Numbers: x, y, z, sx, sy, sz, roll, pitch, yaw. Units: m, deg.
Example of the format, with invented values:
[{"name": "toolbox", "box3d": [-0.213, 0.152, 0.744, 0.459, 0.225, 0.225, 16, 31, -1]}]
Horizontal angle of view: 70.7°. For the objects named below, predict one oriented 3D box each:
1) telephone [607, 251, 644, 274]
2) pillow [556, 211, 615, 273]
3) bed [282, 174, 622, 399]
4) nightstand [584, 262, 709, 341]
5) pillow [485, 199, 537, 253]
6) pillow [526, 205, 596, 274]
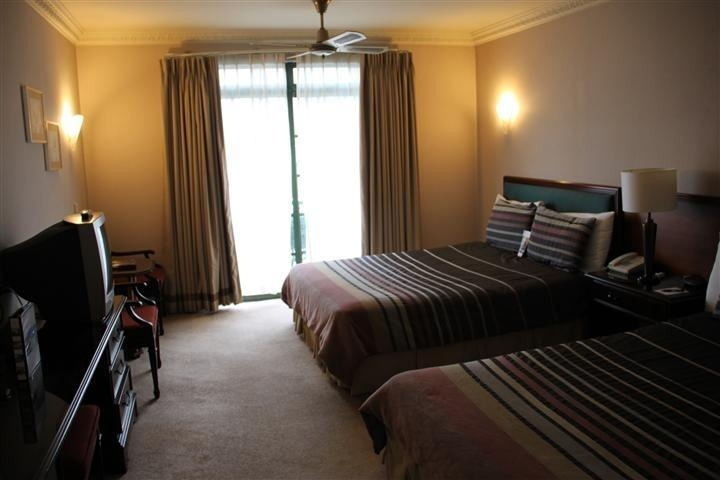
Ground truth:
[{"name": "telephone", "box3d": [2.436, 0.202, 4.611, 0.253, 0.095, 0.191, -15, 17, -8]}, {"name": "pillow", "box3d": [2.286, 0.018, 5.153, 0.496, 0.512, 0.201, 1, -8, -26]}, {"name": "bed", "box3d": [0.932, 0.528, 5.117, 2.731, 1.380, 2.114, -8, 11, -20]}, {"name": "nightstand", "box3d": [2.502, 0.480, 4.457, 0.569, 0.742, 0.771, -5, 7, -15]}, {"name": "pillow", "box3d": [1.773, -0.202, 5.885, 0.266, 0.596, 0.712, 4, 7, -27]}, {"name": "pillow", "box3d": [2.022, -0.007, 5.235, 0.293, 0.523, 0.672, -12, 20, -27]}]
